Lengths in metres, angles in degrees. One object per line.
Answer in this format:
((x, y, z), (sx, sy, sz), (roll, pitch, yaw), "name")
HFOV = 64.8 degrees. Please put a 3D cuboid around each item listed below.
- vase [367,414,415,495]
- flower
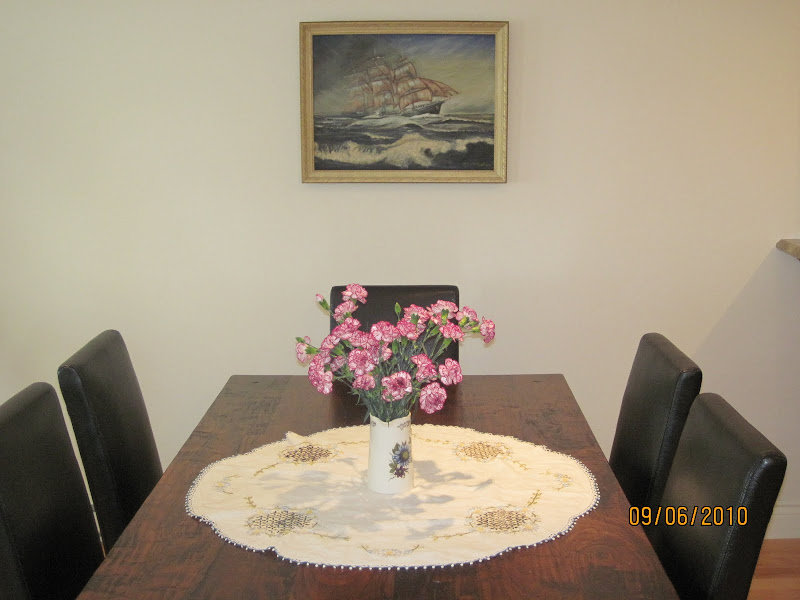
((-0.023, 0.382, 1.614), (0.168, 0.250, 0.163), (0, 2, -2), "vase")
((-0.078, 0.211, 1.665), (0.380, 0.260, 0.386), (3, 3, -23), "flower")
